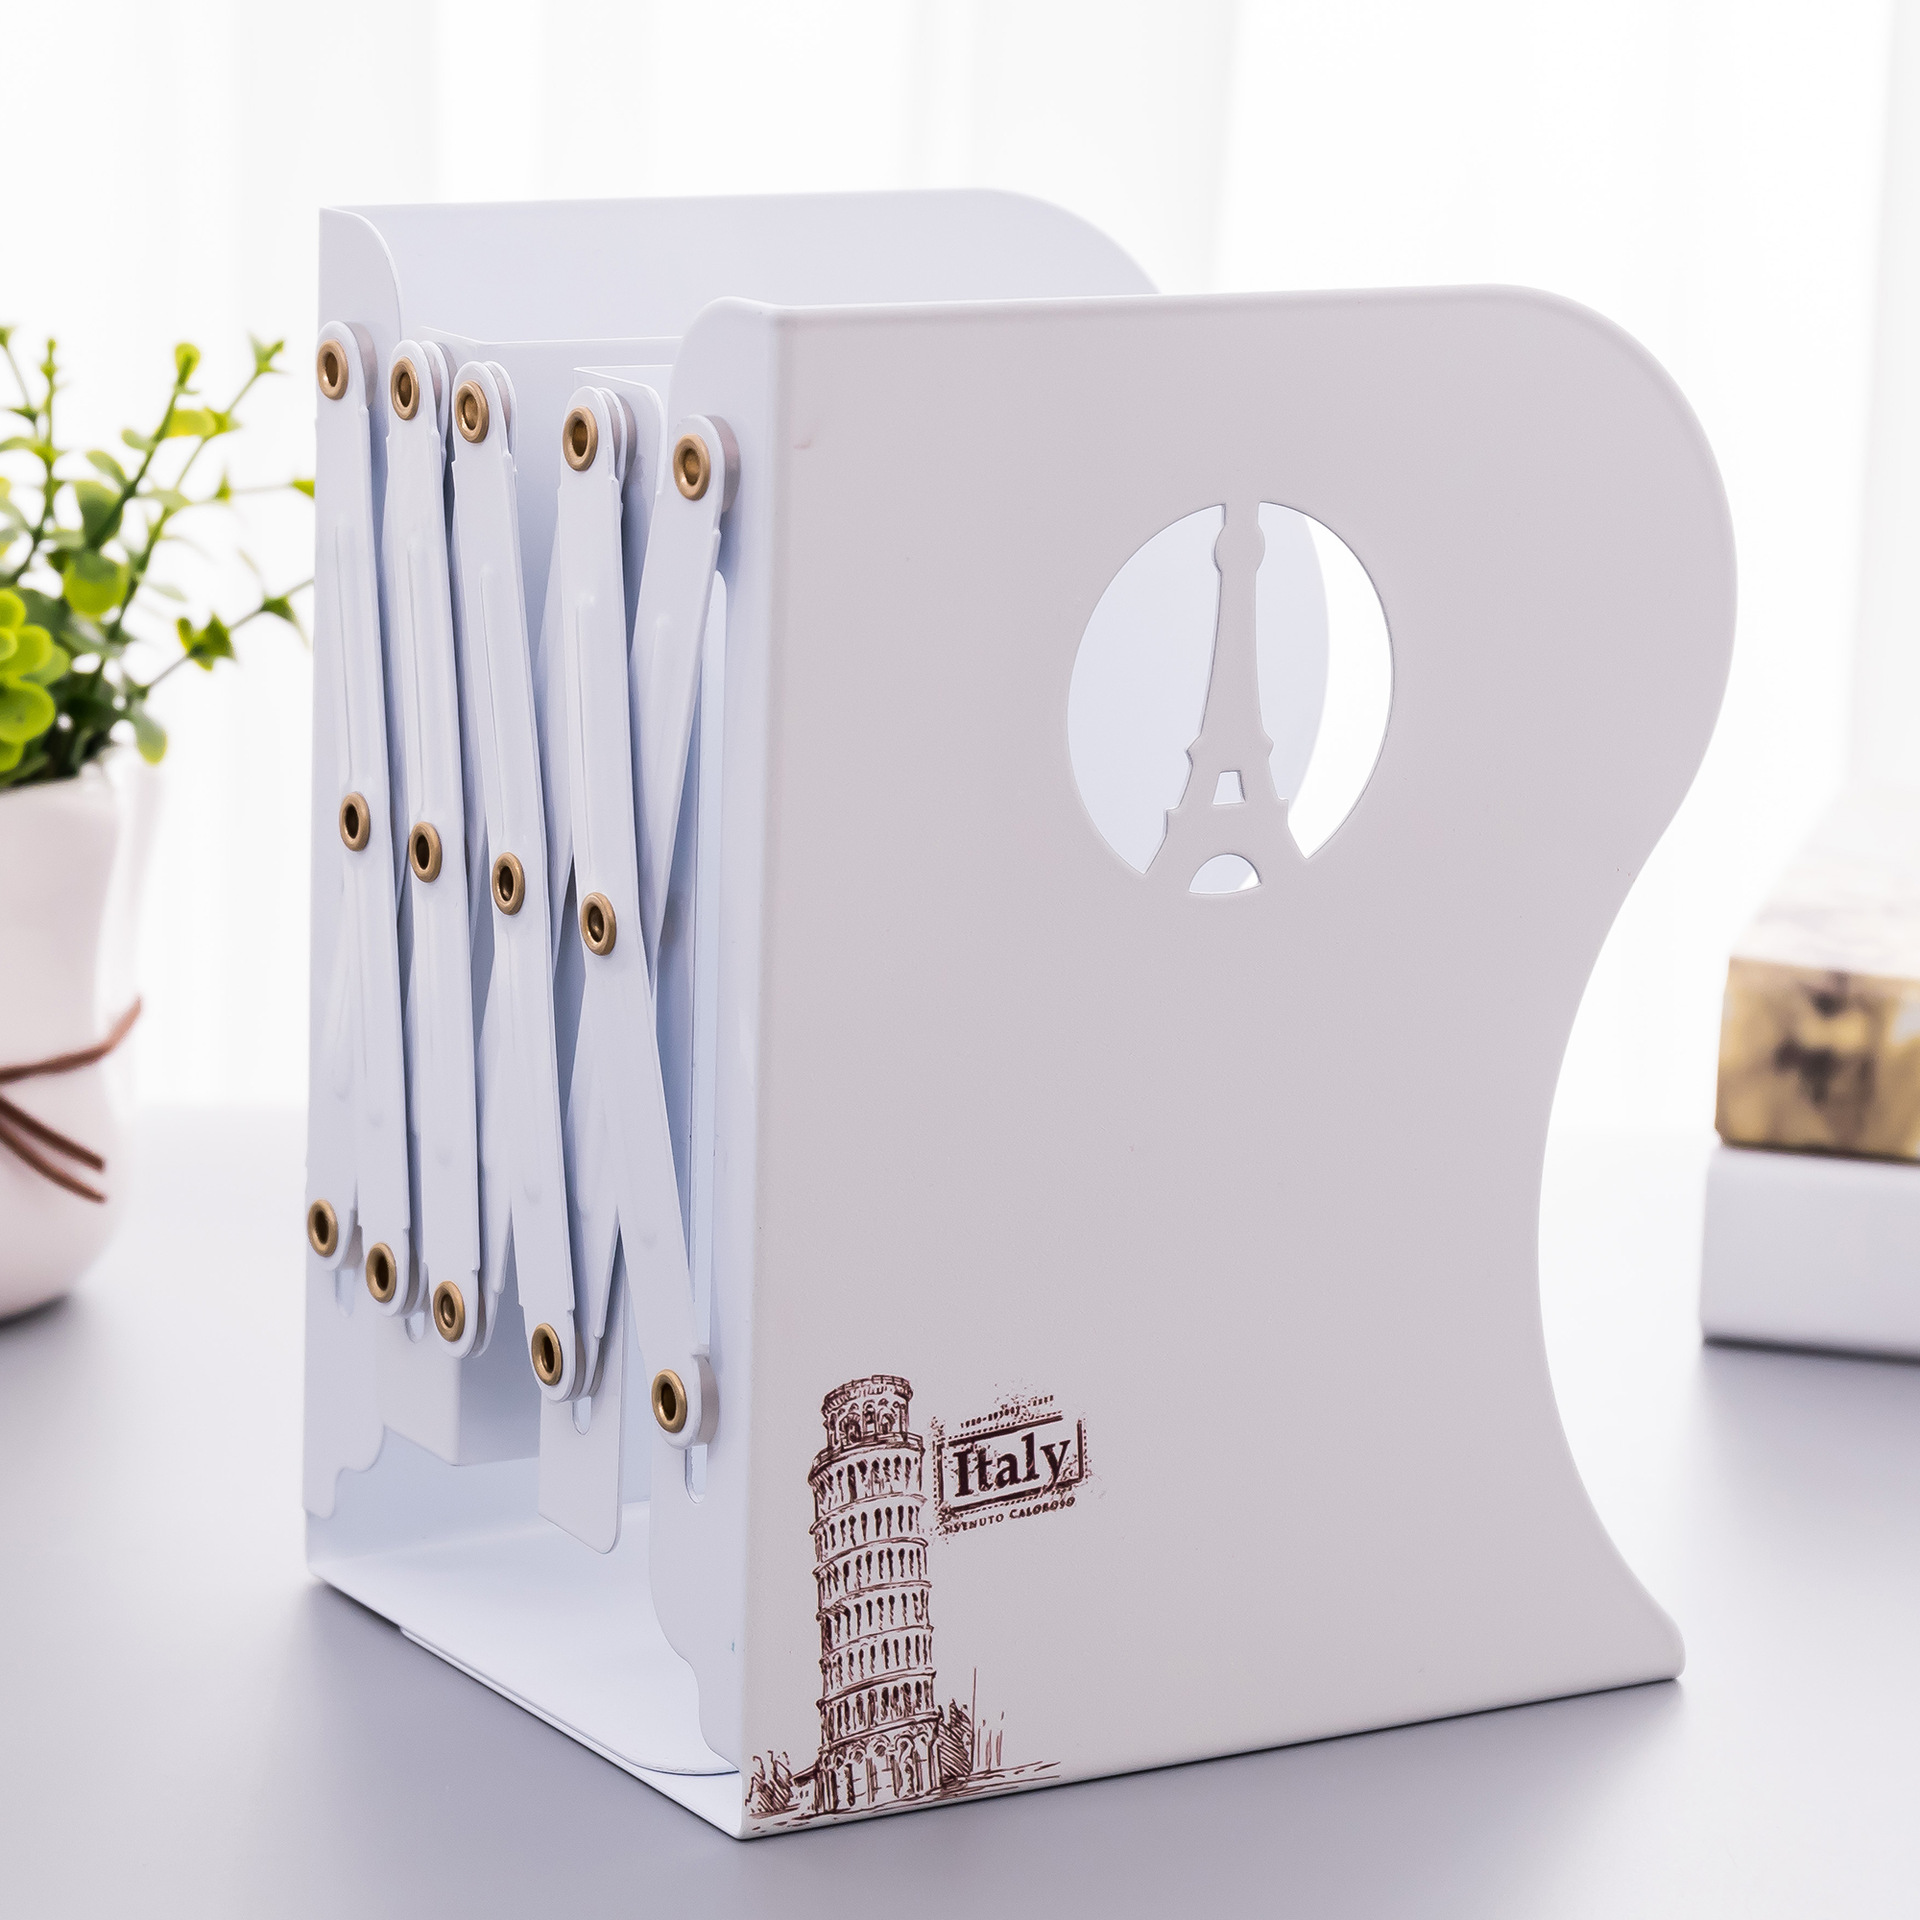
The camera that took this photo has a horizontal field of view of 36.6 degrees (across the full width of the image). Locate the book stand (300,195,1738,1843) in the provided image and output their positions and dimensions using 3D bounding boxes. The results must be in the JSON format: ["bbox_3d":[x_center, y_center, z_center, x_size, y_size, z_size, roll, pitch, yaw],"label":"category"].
[{"bbox_3d":[-0.051,-0.004,0.693,0.162,0.305,0.208,8,11,25],"label":"book stand"}]
